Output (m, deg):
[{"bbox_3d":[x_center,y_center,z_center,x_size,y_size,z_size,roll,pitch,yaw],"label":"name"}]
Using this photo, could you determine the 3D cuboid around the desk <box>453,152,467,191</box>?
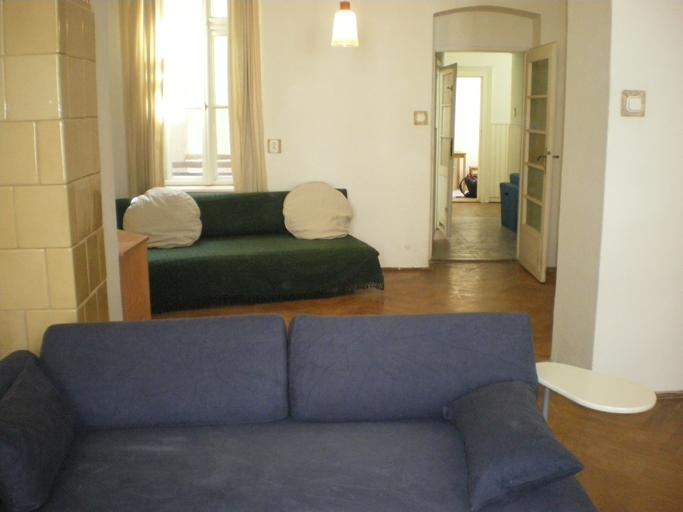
[{"bbox_3d":[2.646,-1.869,11.867,0.388,0.659,0.359,1,10,11],"label":"desk"}]

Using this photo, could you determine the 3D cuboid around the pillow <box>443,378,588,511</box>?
[{"bbox_3d":[0.575,0.637,1.858,0.344,0.105,0.360,-20,31,10],"label":"pillow"}]

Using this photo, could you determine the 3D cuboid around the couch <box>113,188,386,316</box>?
[{"bbox_3d":[-0.891,-0.095,5.224,2.392,0.888,1.100,-3,15,-14],"label":"couch"}]
